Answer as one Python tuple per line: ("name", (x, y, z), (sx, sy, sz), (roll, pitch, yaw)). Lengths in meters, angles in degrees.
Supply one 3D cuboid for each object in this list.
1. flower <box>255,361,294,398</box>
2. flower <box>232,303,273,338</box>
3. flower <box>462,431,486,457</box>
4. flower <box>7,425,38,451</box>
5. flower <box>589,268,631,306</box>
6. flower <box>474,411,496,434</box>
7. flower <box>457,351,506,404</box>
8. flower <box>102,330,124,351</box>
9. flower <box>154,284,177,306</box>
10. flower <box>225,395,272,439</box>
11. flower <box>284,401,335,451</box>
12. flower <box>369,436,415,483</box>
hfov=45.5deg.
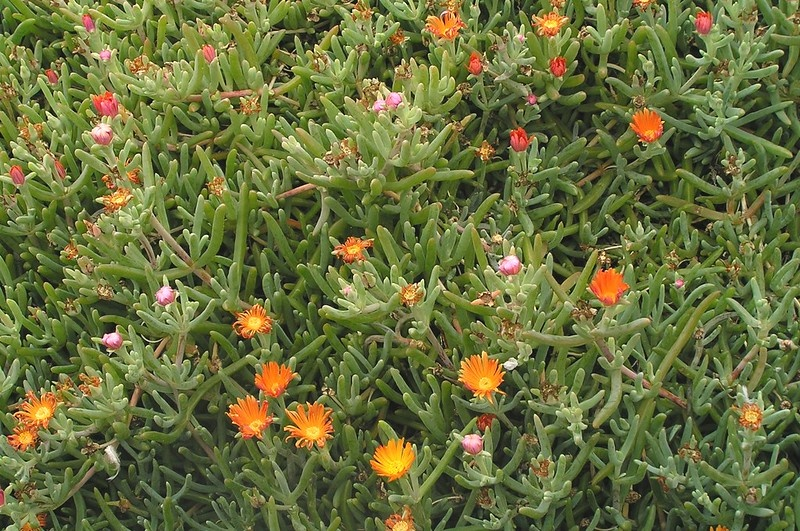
("flower", (-0.301, 0.275, 2.331), (0.087, 0.074, 0.090), (-23, 69, -13))
("flower", (-0.361, 0.157, 2.382), (0.085, 0.034, 0.090), (10, 71, 8))
("flower", (0.167, 0.411, 2.187), (0.049, 0.043, 0.041), (17, 73, -27))
("flower", (-0.892, 0.414, 2.270), (0.064, 0.024, 0.066), (-24, 70, -19))
("flower", (0.490, 0.056, 2.190), (0.071, 0.076, 0.076), (-25, 98, -12))
("flower", (0.209, 0.371, 2.288), (0.038, 0.029, 0.049), (13, 50, 14))
("flower", (0.191, 0.261, 2.268), (0.115, 0.046, 0.117), (-25, 65, 0))
("flower", (-0.690, 0.176, 2.316), (0.047, 0.040, 0.052), (-8, 97, 5))
("flower", (-0.561, 0.076, 2.290), (0.041, 0.044, 0.048), (8, 74, -9))
("flower", (-0.364, 0.370, 2.295), (0.109, 0.052, 0.103), (45, 68, 6))
("flower", (-0.215, 0.355, 2.266), (0.118, 0.121, 0.052), (-2, 90, -2))
("flower", (-0.006, 0.454, 2.178), (0.098, 0.040, 0.098), (21, 28, 29))
